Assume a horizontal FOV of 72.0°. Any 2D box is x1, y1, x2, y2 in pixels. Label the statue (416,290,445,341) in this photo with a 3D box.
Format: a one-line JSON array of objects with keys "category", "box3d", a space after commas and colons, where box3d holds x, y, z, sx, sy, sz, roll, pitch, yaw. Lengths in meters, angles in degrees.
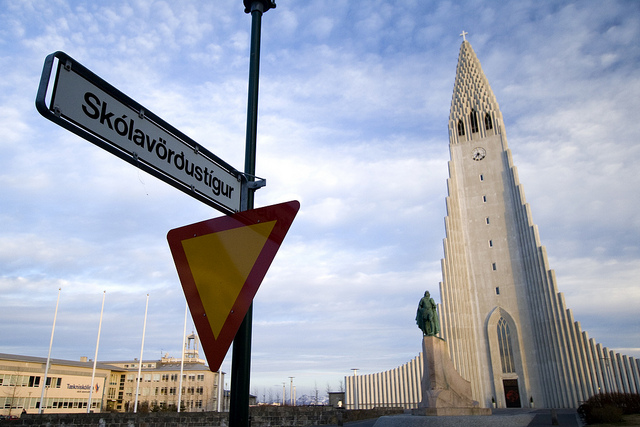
[{"category": "statue", "box3d": [6.407, 6.092, 26.372, 1.264, 2.958, 2.277, -9, -24, 13]}]
